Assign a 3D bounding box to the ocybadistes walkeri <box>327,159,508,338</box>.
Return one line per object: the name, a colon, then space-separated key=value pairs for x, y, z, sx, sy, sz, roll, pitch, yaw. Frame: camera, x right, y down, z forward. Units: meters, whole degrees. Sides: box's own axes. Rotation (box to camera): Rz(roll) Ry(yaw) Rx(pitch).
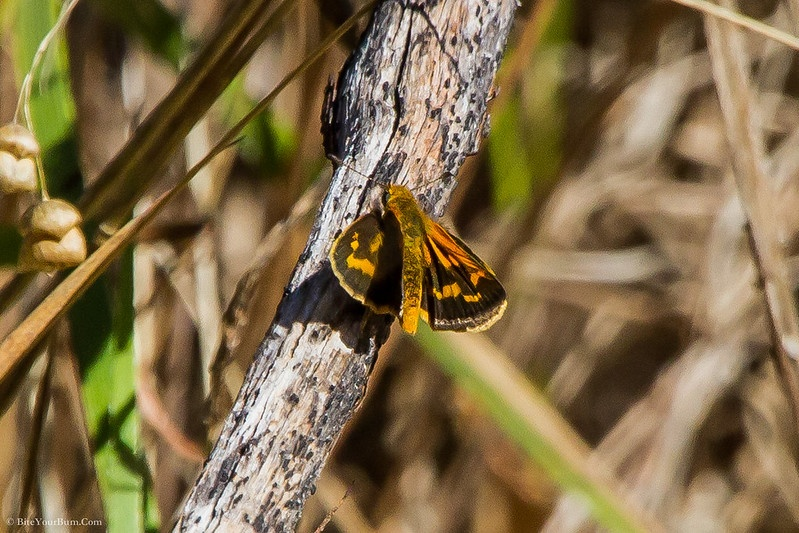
ocybadistes walkeri: x=-0.005 y=-0.022 z=1.692 sx=0.241 sy=0.071 sz=0.284 roll=-4 pitch=51 yaw=-33
